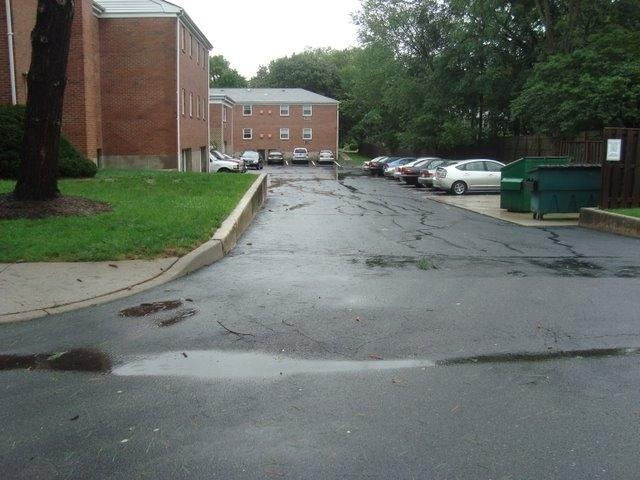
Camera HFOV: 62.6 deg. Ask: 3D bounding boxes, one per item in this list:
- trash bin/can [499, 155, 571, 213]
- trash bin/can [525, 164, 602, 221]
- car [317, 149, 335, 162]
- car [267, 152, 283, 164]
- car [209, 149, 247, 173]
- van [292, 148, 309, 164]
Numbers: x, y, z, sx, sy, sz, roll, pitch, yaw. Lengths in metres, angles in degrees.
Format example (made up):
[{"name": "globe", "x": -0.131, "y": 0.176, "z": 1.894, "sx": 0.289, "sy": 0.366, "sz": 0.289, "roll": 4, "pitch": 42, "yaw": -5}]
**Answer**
[{"name": "trash bin/can", "x": 7.612, "y": -1.955, "z": 18.283, "sx": 2.188, "sy": 2.727, "sz": 1.985, "roll": -1, "pitch": 8, "yaw": -15}, {"name": "trash bin/can", "x": 7.701, "y": -1.598, "z": 16.750, "sx": 2.249, "sy": 1.826, "sz": 1.508, "roll": -1, "pitch": 3, "yaw": -6}, {"name": "car", "x": 0.604, "y": -9.929, "z": 62.446, "sx": 1.697, "sy": 1.314, "sz": 3.992, "roll": 0, "pitch": 15, "yaw": 0}, {"name": "car", "x": -5.286, "y": -9.661, "z": 62.034, "sx": 1.807, "sy": 1.522, "sz": 1.755, "roll": 1, "pitch": 10, "yaw": 4}, {"name": "car", "x": -6.664, "y": -5.466, "z": 37.199, "sx": 2.846, "sy": 1.180, "sz": 1.369, "roll": 0, "pitch": 10, "yaw": 10}, {"name": "van", "x": -2.356, "y": -9.696, "z": 61.233, "sx": 1.745, "sy": 1.724, "sz": 2.374, "roll": 0, "pitch": 10, "yaw": -5}]
